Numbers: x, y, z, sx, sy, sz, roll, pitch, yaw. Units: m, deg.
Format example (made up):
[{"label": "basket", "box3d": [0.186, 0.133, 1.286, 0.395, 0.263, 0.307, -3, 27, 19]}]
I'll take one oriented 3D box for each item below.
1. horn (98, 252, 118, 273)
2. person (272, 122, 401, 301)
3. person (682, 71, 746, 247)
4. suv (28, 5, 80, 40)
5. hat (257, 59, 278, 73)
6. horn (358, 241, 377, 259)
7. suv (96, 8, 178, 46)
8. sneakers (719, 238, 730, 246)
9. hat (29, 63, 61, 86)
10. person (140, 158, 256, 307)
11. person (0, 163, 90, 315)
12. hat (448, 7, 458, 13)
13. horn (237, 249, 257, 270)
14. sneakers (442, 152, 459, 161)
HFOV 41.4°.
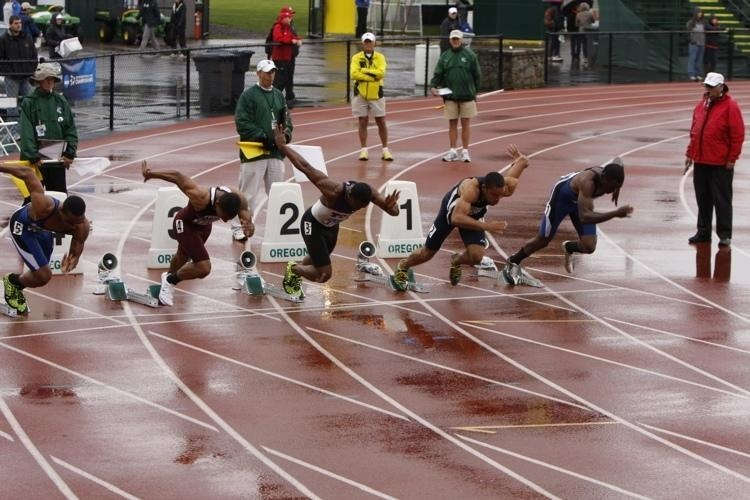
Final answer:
[{"label": "horn", "box3d": [-3.494, 0.189, 12.964, 0.233, 0.262, 0.277, -5, 11, -16]}, {"label": "person", "box3d": [-0.656, -0.415, 12.705, 0.761, 2.205, 1.217, -8, 13, -27]}, {"label": "person", "box3d": [5.312, -1.384, 15.539, 0.896, 2.660, 0.478, 5, 14, 30]}, {"label": "suv", "box3d": [-11.934, -8.534, 36.900, 1.943, 0.989, 2.516, -3, 9, -23]}, {"label": "hat", "box3d": [-1.632, -2.711, 14.862, 0.224, 0.175, 0.278, -4, 11, -15]}, {"label": "horn", "box3d": [-0.118, 0.015, 13.970, 0.259, 0.191, 0.167, 2, -12, -21]}, {"label": "suv", "box3d": [-9.356, -8.915, 40.104, 3.143, 1.529, 1.855, 8, 12, 40]}, {"label": "sneakers", "box3d": [5.475, -0.112, 15.584, 0.136, 0.122, 0.350, 0, -1, 27]}, {"label": "hat", "box3d": [-4.801, -2.539, 14.460, 0.346, 0.305, 0.599, -6, 11, -22]}, {"label": "person", "box3d": [-2.236, -0.172, 12.499, 1.387, 1.850, 0.902, 6, 14, 33]}, {"label": "person", "box3d": [-4.072, -0.124, 12.176, 1.286, 1.875, 0.575, 2, 12, 16]}, {"label": "hat", "box3d": [2.325, -7.154, 29.872, 0.330, 0.139, 0.440, -1, 10, -4]}, {"label": "horn", "box3d": [-1.676, 0.150, 13.323, 0.307, 0.243, 0.389, -2, 1, -37]}, {"label": "sneakers", "box3d": [1.628, -1.936, 20.975, 0.457, 0.157, 0.163, -1, 27, -16]}]
